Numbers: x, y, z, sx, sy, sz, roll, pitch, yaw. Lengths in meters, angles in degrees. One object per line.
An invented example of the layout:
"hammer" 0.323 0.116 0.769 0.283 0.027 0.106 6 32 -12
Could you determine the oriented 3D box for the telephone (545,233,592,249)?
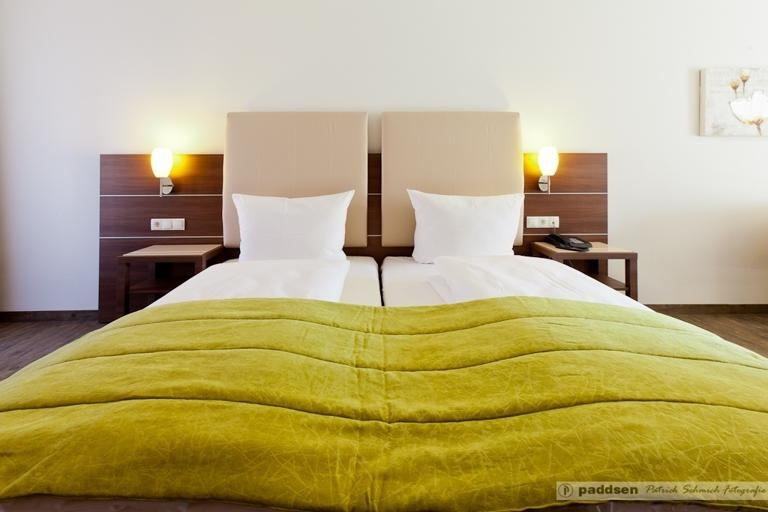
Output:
"telephone" 1.303 -0.124 3.567 0.211 0.057 0.148 -2 8 -2
